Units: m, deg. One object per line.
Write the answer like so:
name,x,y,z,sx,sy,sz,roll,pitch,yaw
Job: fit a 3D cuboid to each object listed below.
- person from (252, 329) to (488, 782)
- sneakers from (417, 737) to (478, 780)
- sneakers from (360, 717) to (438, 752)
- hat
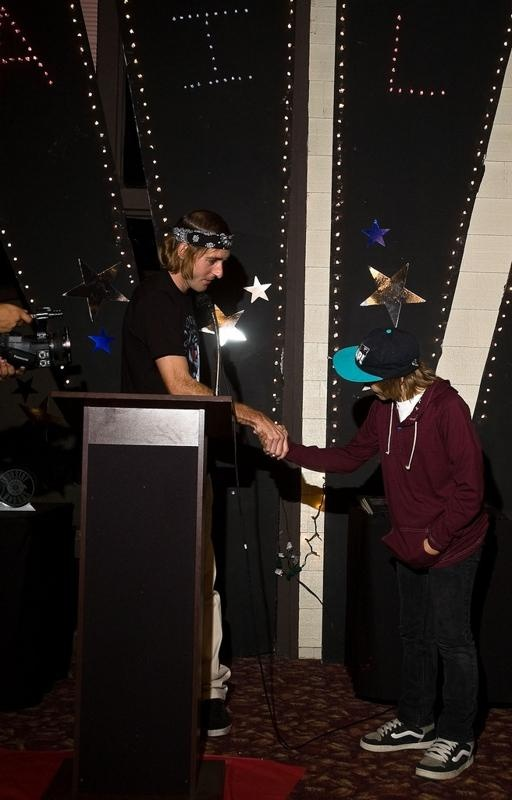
person,0.498,0.472,2.361,0.567,1.396,0.557,3,-2,20
sneakers,0.587,1.103,2.117,0.077,0.091,0.220,-10,-23,39
sneakers,0.489,1.129,2.347,0.251,0.116,0.098,3,-10,-4
hat,0.397,-0.167,2.257,0.296,0.134,0.236,-5,31,7
